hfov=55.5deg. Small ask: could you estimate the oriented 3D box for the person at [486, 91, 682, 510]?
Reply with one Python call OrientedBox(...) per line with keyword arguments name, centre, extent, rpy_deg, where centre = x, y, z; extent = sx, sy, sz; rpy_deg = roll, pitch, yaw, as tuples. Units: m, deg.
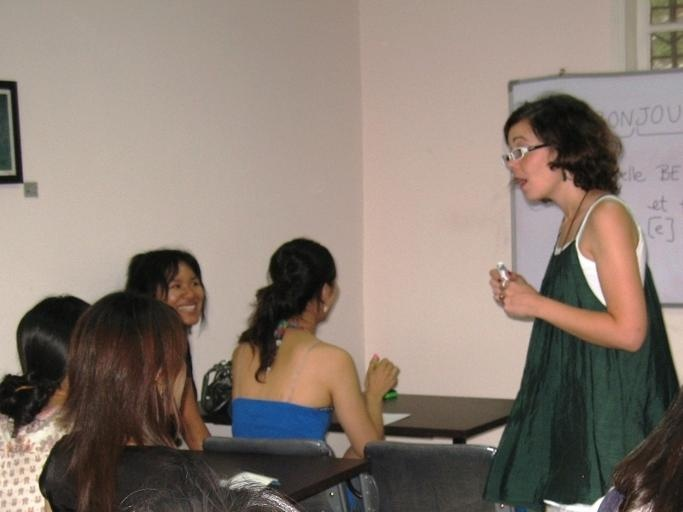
OrientedBox(name="person", centre=(0.611, 0.129, 1.695), extent=(0.464, 1.169, 0.387), rpy_deg=(-1, 1, 20))
